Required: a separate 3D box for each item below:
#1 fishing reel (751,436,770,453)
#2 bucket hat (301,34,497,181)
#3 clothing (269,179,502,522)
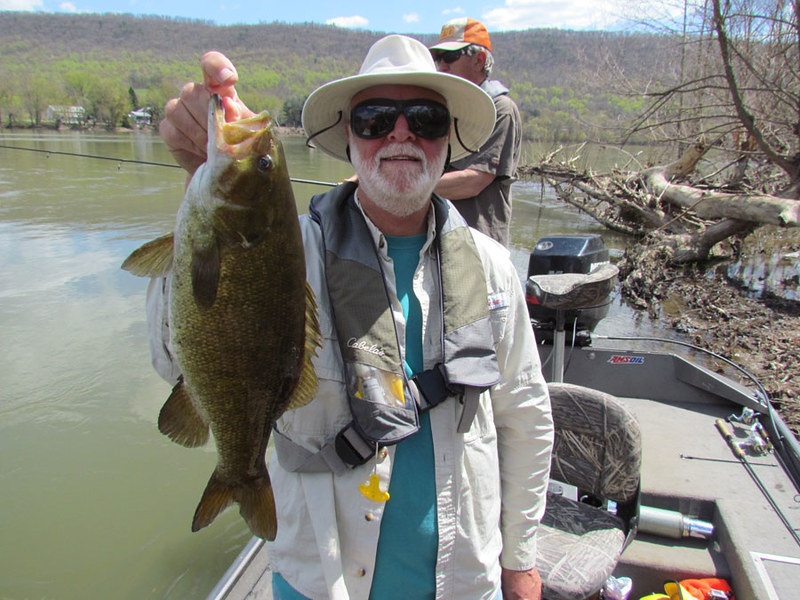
[{"bbox_3d":[2.867,1.153,4.726,0.083,0.051,0.143,3,18,10],"label":"fishing reel"},{"bbox_3d":[-0.066,-1.060,3.339,0.833,0.394,0.813,11,-23,-25],"label":"bucket hat"},{"bbox_3d":[-0.116,0.189,3.181,1.129,1.324,0.491,-8,-8,-26],"label":"clothing"}]
